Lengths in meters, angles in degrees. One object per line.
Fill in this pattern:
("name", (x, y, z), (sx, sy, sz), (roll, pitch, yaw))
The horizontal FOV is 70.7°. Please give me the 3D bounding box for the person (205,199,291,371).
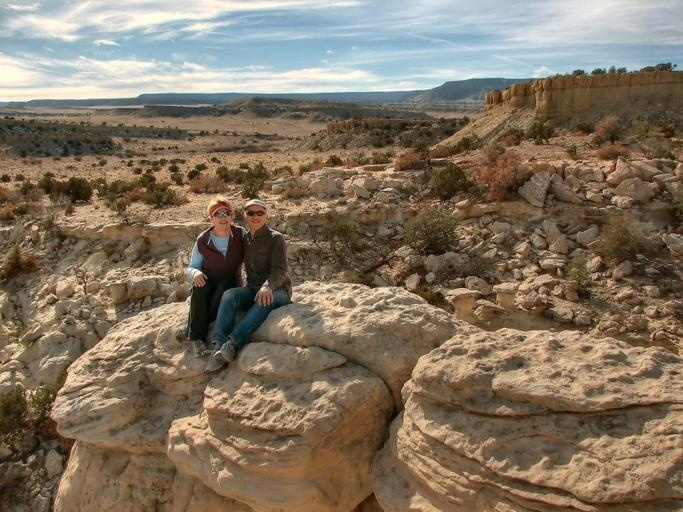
("person", (-1.323, 0.356, 6.889), (0.865, 2.246, 1.392), (6, 15, 18))
